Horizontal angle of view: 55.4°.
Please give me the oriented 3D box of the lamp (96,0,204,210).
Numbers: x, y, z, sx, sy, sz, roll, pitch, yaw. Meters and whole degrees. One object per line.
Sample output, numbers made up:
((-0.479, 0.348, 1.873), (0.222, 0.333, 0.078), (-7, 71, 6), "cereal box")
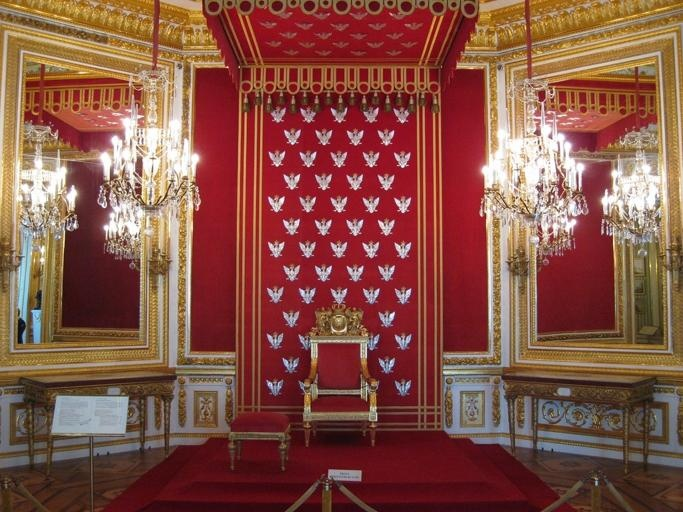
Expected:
((-2.269, -1.846, 7.837), (1.181, 2.936, 2.101), (2, -6, -21), "lamp")

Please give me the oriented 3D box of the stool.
((-0.922, 2.076, 7.397), (0.646, 0.572, 0.804), (0, -6, -4), "stool")

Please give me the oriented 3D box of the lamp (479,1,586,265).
((2.368, -1.656, 8.025), (1.172, 3.451, 1.890), (-3, -6, 22), "lamp")

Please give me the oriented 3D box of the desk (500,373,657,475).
((2.924, 2.060, 8.215), (1.659, 1.164, 0.626), (-5, -4, 43), "desk")

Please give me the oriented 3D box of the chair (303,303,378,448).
((0.005, 1.469, 8.245), (0.919, 1.731, 1.068), (-1, -6, 4), "chair")
